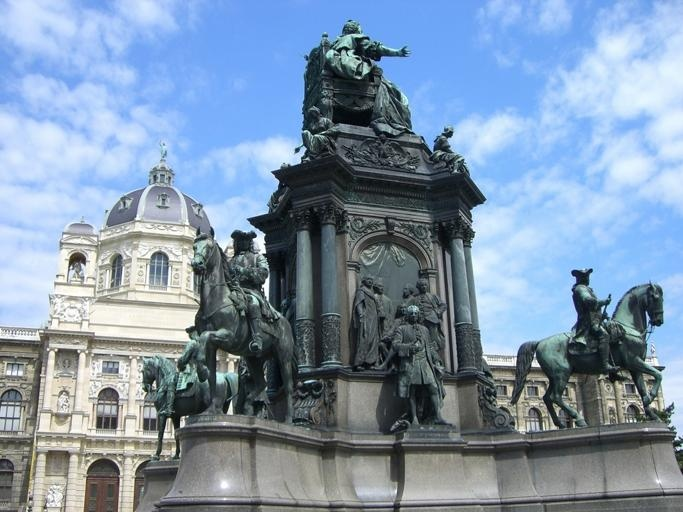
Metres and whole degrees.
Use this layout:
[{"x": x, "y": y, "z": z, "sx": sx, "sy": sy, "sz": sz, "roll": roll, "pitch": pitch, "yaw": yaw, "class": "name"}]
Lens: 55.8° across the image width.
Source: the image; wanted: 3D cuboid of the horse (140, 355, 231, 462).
[{"x": -5.602, "y": 5.438, "z": 24.128, "sx": 4.970, "sy": 3.596, "sz": 1.126, "roll": -10, "pitch": -16, "yaw": 27, "class": "horse"}]

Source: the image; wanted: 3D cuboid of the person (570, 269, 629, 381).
[{"x": 6.806, "y": 1.815, "z": 17.409, "sx": 1.064, "sy": 2.968, "sz": 0.747, "roll": 0, "pitch": -11, "yaw": -13, "class": "person"}]

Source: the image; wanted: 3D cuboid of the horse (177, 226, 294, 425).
[{"x": -2.429, "y": 1.890, "z": 16.265, "sx": 2.829, "sy": 4.499, "sz": 4.011, "roll": 0, "pitch": -12, "yaw": -14, "class": "horse"}]
